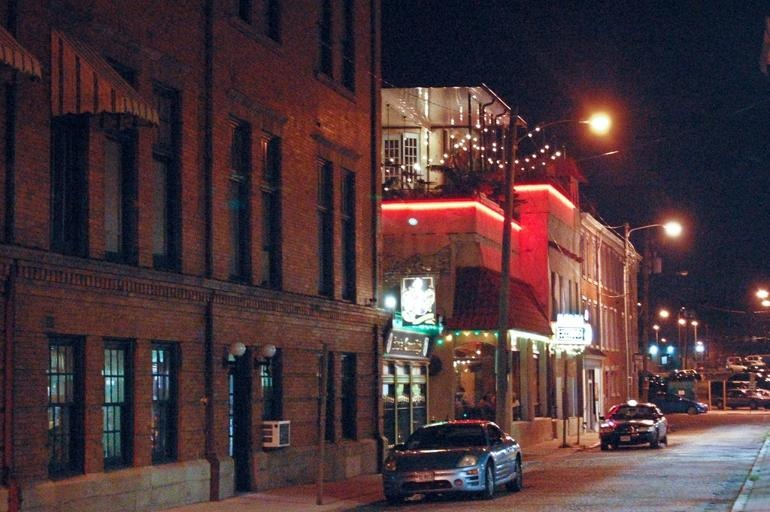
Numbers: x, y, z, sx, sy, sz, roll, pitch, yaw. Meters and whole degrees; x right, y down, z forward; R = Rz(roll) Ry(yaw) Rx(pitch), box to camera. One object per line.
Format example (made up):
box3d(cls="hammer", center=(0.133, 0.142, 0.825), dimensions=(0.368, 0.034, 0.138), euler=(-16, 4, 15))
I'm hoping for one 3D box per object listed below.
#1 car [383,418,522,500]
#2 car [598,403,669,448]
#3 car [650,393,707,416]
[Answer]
box3d(cls="car", center=(1.615, 4.976, 26.143), dimensions=(3.280, 2.066, 2.235), euler=(-3, -17, -1))
box3d(cls="car", center=(9.366, 6.411, 40.384), dimensions=(2.413, 1.962, 2.398), euler=(-6, -17, 10))
box3d(cls="car", center=(20.875, 10.860, 75.693), dimensions=(4.447, 1.633, 1.994), euler=(-5, -6, 30))
